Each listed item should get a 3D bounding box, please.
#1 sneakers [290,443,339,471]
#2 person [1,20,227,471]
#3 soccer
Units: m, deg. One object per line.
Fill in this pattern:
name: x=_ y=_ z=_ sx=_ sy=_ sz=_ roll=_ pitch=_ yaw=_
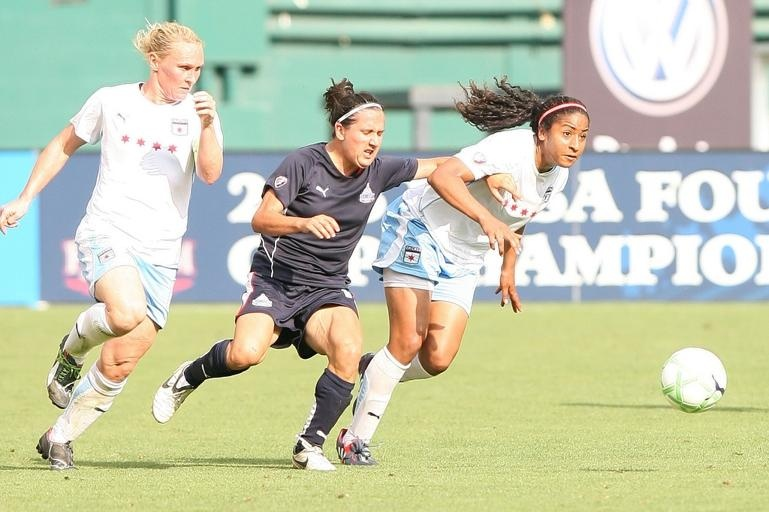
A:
sneakers: x=-0.470 y=1.309 z=6.728 sx=0.307 sy=0.151 sz=0.134 roll=14 pitch=18 yaw=11
person: x=-1.774 y=-0.083 z=6.799 sx=1.137 sy=2.916 sz=0.596 roll=0 pitch=3 yaw=7
soccer: x=2.336 y=0.958 z=7.744 sx=0.323 sy=0.316 sz=0.328 roll=-30 pitch=59 yaw=-21
